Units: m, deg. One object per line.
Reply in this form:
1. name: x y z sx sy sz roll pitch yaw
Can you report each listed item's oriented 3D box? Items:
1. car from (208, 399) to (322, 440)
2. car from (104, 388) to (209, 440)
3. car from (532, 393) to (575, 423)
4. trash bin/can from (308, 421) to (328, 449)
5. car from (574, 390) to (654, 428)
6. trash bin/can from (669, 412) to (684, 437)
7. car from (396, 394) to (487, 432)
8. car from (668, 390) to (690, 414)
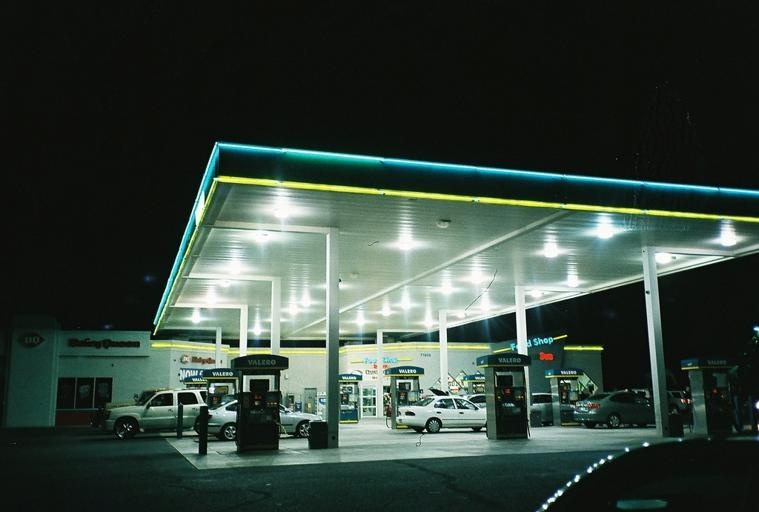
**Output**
1. car: -4.372 6.497 28.677 4.315 1.320 1.866 1 -7 -19
2. car: -9.093 6.419 30.019 3.513 2.096 1.161 6 -17 -18
3. car: 8.430 7.453 35.638 2.274 1.043 1.188 4 -11 -8
4. trash bin/can: -1.898 5.861 24.185 0.791 1.023 0.757 1 -4 -13
5. car: 10.189 6.597 31.788 3.018 1.561 1.012 2 -17 -6
6. trash bin/can: 10.616 6.067 26.432 0.654 0.738 0.248 7 -18 -20
7. car: 2.693 6.834 31.944 3.657 1.099 1.593 -1 -5 -13
8. car: 13.743 6.610 33.689 0.847 1.192 5.300 -6 -17 22
